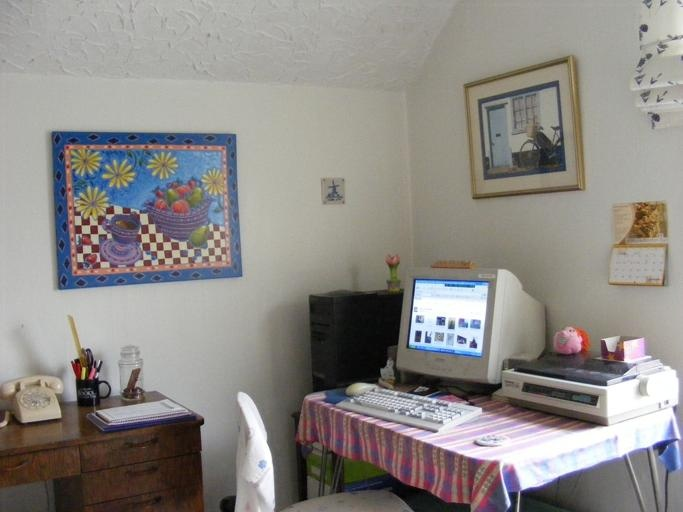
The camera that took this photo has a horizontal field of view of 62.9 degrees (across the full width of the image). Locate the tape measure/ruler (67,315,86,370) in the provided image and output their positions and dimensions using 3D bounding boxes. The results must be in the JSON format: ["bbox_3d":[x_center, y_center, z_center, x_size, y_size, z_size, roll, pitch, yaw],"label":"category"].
[{"bbox_3d":[-1.284,0.419,2.701,0.038,0.277,0.020,-18,-2,16],"label":"tape measure/ruler"}]

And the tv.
[{"bbox_3d":[0.619,0.311,2.694,0.651,0.542,0.663,-1,0,-27],"label":"tv"}]

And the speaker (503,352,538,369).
[{"bbox_3d":[0.768,0.445,2.412,0.096,0.033,0.074,-7,1,-9],"label":"speaker"}]

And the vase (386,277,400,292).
[{"bbox_3d":[0.290,0.161,3.106,0.066,0.052,0.067,4,-4,-41],"label":"vase"}]

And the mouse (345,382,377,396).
[{"bbox_3d":[0.088,0.597,2.534,0.059,0.034,0.113,-4,-5,45],"label":"mouse"}]

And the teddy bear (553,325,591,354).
[{"bbox_3d":[0.989,0.365,2.438,0.132,0.108,0.108,-5,-29,-44],"label":"teddy bear"}]

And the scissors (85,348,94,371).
[{"bbox_3d":[-1.195,0.485,2.653,0.028,0.127,0.030,3,3,32],"label":"scissors"}]

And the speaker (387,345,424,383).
[{"bbox_3d":[0.285,0.541,2.766,0.225,0.146,0.276,0,-22,1],"label":"speaker"}]

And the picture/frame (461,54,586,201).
[{"bbox_3d":[0.915,-0.638,2.737,0.074,0.728,0.771,-8,3,-38],"label":"picture/frame"}]

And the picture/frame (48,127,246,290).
[{"bbox_3d":[-1.028,-0.245,2.836,0.770,0.670,0.019,-4,3,-24],"label":"picture/frame"}]

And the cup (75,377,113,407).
[{"bbox_3d":[-1.191,0.660,2.692,0.148,0.117,0.096,3,-7,-32],"label":"cup"}]
